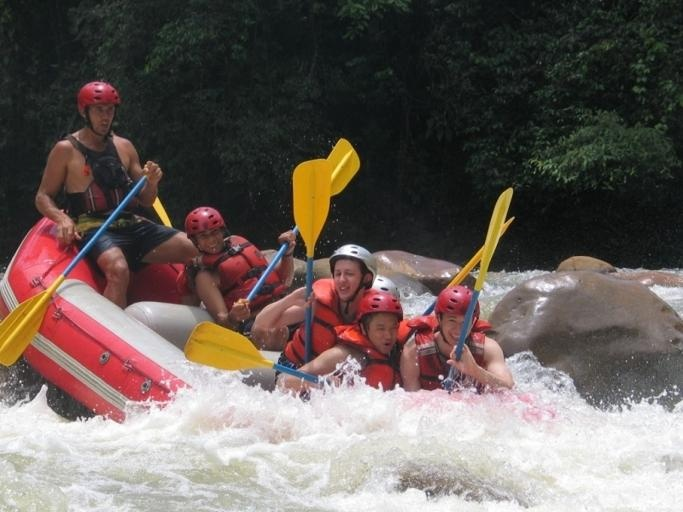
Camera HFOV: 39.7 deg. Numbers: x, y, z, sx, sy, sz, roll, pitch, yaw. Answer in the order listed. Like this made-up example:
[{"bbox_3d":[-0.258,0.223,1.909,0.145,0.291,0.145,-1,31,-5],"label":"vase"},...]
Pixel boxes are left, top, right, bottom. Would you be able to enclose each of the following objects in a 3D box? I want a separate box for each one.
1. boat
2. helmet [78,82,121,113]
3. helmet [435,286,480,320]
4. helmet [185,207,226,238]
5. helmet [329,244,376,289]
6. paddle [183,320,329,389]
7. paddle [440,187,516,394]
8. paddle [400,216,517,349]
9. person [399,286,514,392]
[{"bbox_3d":[-2.249,0.722,9.205,2.636,0.922,1.774,28,42,10],"label":"boat"},{"bbox_3d":[-2.594,-1.728,9.995,0.392,0.349,0.298,-12,-6,16],"label":"helmet"},{"bbox_3d":[1.098,0.459,8.858,0.266,0.343,0.350,7,28,-29],"label":"helmet"},{"bbox_3d":[-1.421,-0.339,9.743,0.264,0.336,0.357,-14,-13,-9],"label":"helmet"},{"bbox_3d":[0.161,0.030,9.217,0.338,0.449,0.338,7,45,34],"label":"helmet"},{"bbox_3d":[-0.757,1.015,9.051,1.619,0.415,0.073,24,3,-36],"label":"paddle"},{"bbox_3d":[1.726,0.313,11.744,0.330,2.965,0.149,20,-3,-9],"label":"paddle"},{"bbox_3d":[1.599,0.288,12.480,0.285,0.139,2.671,43,72,8],"label":"paddle"},{"bbox_3d":[1.069,0.772,8.879,0.809,0.507,1.129,-3,32,-6],"label":"person"}]
